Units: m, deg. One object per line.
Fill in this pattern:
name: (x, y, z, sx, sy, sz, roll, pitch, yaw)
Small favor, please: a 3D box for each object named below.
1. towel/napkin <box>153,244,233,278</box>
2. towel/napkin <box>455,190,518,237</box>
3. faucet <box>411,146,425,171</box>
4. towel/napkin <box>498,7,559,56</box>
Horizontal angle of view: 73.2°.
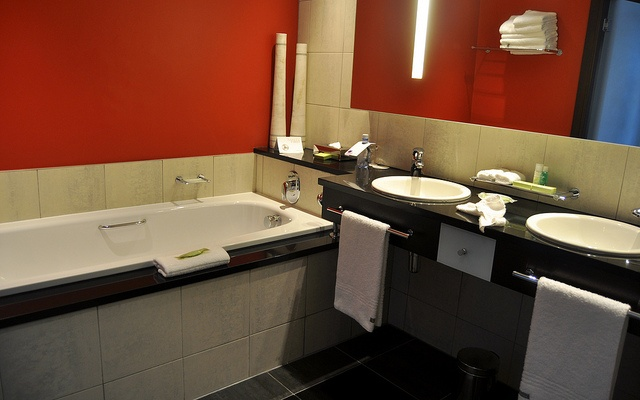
towel/napkin: (-0.742, 0.350, 2.491, 0.267, 0.076, 0.190, -11, 13, -34)
towel/napkin: (0.875, 0.046, 2.255, 0.215, 0.076, 0.225, -18, 27, -19)
faucet: (0.643, -0.264, 2.826, 0.069, 0.150, 0.078, 2, 19, 9)
towel/napkin: (1.225, -0.916, 2.517, 0.333, 0.226, 0.248, 11, 20, 44)
